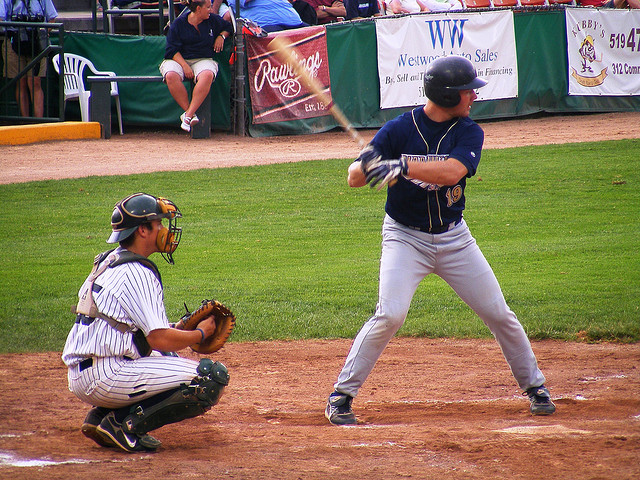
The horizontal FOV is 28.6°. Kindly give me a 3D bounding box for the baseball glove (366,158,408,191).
[{"bbox_3d":[0.707,-0.682,13.137,0.414,0.280,0.102,-24,-26,-11],"label":"baseball glove"}]

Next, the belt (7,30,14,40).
[{"bbox_3d":[-5.999,-3.952,24.210,0.138,0.108,0.030,8,0,6],"label":"belt"}]

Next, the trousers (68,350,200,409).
[{"bbox_3d":[-1.915,1.447,12.878,1.306,0.568,0.172,-4,10,-5],"label":"trousers"}]

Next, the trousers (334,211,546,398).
[{"bbox_3d":[1.247,0.728,13.462,2.182,1.906,0.455,-4,10,-4],"label":"trousers"}]
